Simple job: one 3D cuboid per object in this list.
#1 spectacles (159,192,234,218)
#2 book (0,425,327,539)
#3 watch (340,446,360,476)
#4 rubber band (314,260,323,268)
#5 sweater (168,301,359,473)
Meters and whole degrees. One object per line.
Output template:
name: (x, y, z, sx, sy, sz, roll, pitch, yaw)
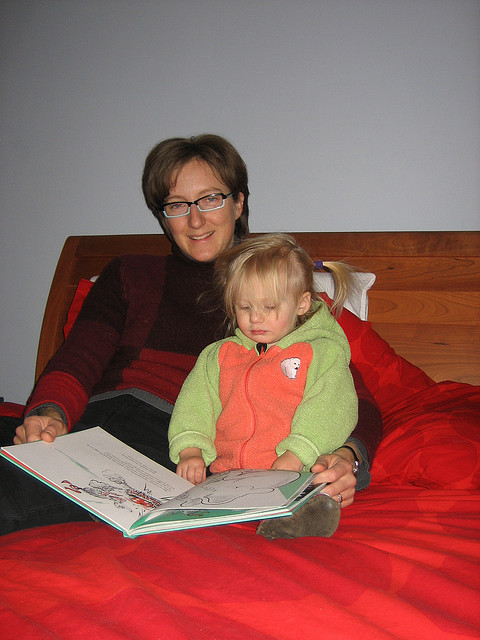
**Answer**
spectacles: (-0.113, -0.277, 1.396, 0.179, 0.063, 0.096, 0, 5, 1)
book: (-0.131, 0.253, 0.864, 0.383, 0.066, 0.199, 14, 8, 13)
watch: (0.200, 0.243, 0.994, 0.029, 0.035, 0.037, 1, 22, 37)
rubber band: (0.174, -0.125, 1.284, 0.013, 0.013, 0.016, 7, 12, 17)
sweater: (0.054, 0.130, 1.184, 0.400, 0.400, 0.128, -13, -43, 25)
